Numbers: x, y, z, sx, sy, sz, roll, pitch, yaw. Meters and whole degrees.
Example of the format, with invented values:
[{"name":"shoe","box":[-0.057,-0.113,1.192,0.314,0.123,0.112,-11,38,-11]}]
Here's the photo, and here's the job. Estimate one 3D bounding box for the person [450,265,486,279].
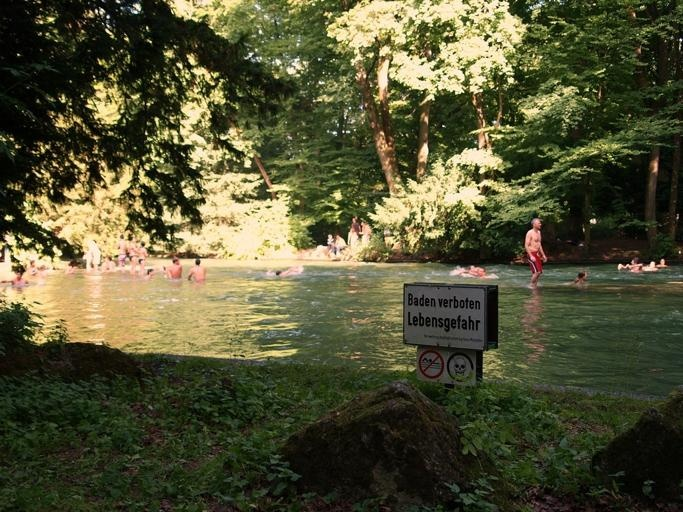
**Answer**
[{"name":"person","box":[5.548,0.666,24.383,1.378,0.457,2.892,0,-1,-1]}]
